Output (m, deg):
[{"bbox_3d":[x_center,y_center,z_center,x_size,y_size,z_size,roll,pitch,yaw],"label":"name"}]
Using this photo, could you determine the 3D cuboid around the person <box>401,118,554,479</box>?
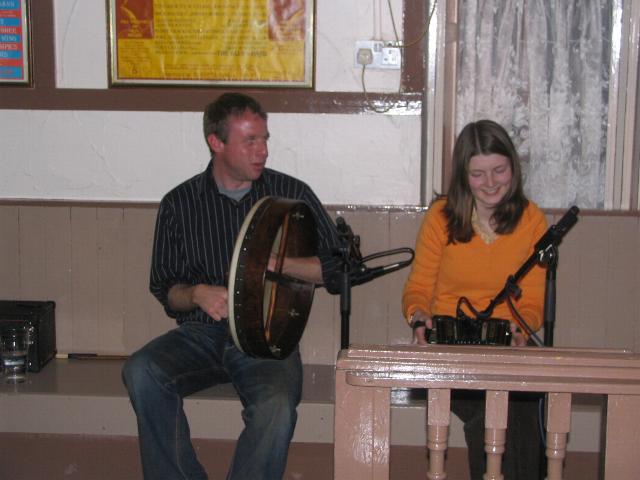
[{"bbox_3d":[0.734,0.226,3.679,0.715,1.651,1.249,1,5,16],"label":"person"}]

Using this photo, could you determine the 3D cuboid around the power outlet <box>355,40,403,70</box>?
[{"bbox_3d":[0.315,-1.031,4.202,0.225,0.156,0.058,1,9,3],"label":"power outlet"}]
